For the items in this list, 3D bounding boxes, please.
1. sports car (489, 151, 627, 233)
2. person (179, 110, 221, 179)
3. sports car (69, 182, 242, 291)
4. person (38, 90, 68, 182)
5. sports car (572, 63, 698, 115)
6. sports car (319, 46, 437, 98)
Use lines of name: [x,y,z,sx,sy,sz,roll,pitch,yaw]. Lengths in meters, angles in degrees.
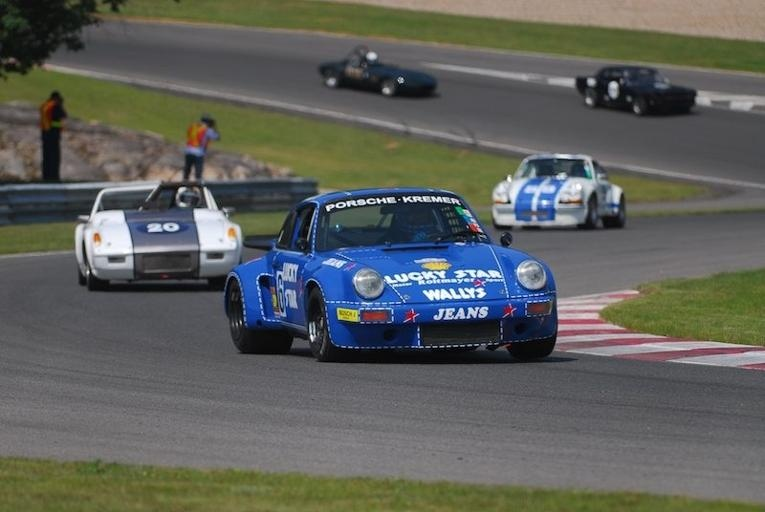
sports car: [3.618,-1.395,33.832,2.382,1.292,3.692,3,7,21]
person: [-3.788,-2.155,34.041,0.664,1.566,0.580,13,16,9]
sports car: [-3.920,-0.451,28.270,2.845,1.425,4.609,-2,9,-13]
person: [-7.145,-2.539,35.437,0.482,2.093,0.940,-4,15,-14]
sports car: [6.138,-4.162,41.444,1.331,0.808,2.551,-9,16,-38]
sports car: [-0.176,-4.853,44.433,3.033,1.202,1.100,3,15,11]
